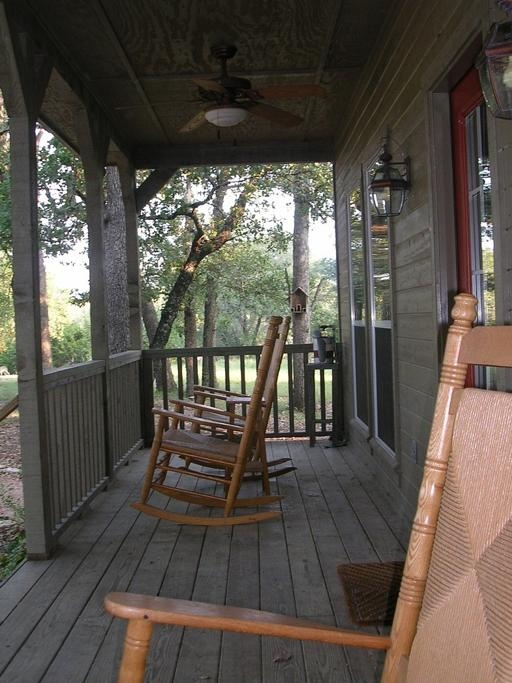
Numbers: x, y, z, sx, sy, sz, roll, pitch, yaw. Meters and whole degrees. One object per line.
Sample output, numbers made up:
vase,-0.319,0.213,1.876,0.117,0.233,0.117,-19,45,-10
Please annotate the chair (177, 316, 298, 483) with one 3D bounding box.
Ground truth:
chair,-0.125,0.486,3.196,0.808,1.027,0.786,2,7,-14

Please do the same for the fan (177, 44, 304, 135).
fan,-0.147,-1.573,3.265,0.725,0.568,0.588,2,3,-24

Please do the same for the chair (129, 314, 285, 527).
chair,-0.299,0.506,3.218,0.879,1.299,0.818,-1,0,9

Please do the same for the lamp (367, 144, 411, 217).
lamp,0.702,-0.874,2.745,0.200,0.363,0.243,1,3,-2
